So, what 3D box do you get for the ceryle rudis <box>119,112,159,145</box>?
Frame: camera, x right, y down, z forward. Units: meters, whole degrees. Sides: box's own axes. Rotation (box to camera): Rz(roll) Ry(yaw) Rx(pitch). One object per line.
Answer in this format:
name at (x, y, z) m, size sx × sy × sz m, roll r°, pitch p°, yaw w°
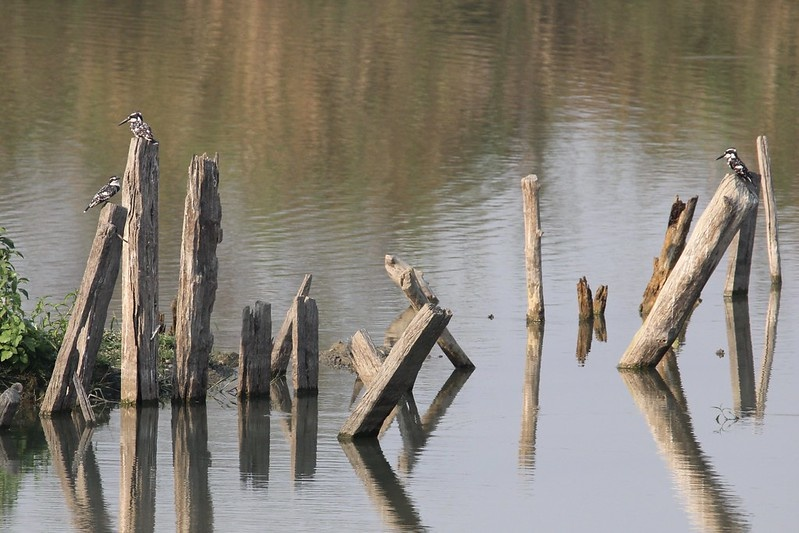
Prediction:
ceryle rudis at (-5.144, -2.764, 31.472) m, size 0.462 × 0.797 × 0.977 m, roll 0°, pitch -8°, yaw -15°
